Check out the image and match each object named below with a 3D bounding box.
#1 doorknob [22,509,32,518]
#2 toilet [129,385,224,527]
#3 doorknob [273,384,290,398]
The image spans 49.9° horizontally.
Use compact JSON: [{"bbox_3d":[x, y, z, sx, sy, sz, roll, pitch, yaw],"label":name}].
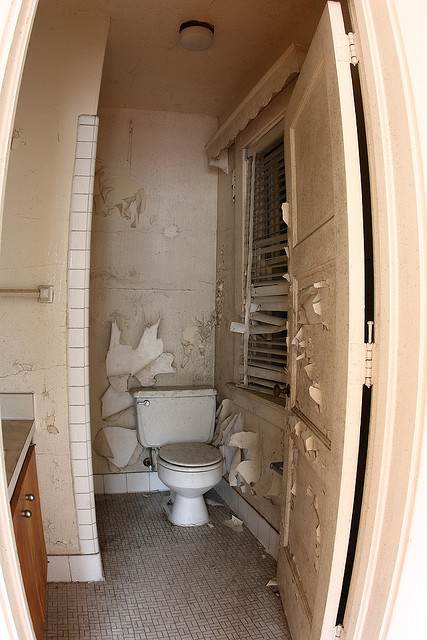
[{"bbox_3d":[-0.460,0.480,1.137,0.022,0.028,0.026,-3,-22,11],"label":"doorknob"},{"bbox_3d":[-0.176,0.703,2.575,0.455,0.789,0.492,1,4,-19],"label":"toilet"},{"bbox_3d":[0.255,0.268,1.715,0.050,0.043,0.039,0,-10,8],"label":"doorknob"}]
